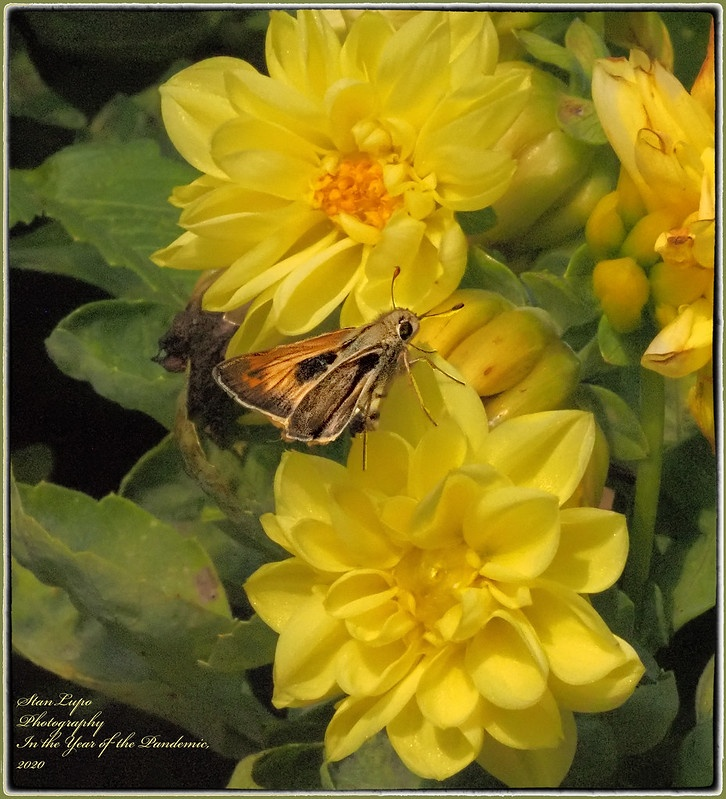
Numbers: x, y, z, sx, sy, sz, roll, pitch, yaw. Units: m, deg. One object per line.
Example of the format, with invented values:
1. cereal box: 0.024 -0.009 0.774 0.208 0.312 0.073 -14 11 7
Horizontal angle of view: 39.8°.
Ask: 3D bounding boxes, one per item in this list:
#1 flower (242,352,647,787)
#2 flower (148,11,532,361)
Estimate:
1. flower: 0.124 0.125 0.939 0.345 0.356 0.144 59 24 17
2. flower: -0.029 -0.204 0.886 0.323 0.267 0.306 6 49 0
